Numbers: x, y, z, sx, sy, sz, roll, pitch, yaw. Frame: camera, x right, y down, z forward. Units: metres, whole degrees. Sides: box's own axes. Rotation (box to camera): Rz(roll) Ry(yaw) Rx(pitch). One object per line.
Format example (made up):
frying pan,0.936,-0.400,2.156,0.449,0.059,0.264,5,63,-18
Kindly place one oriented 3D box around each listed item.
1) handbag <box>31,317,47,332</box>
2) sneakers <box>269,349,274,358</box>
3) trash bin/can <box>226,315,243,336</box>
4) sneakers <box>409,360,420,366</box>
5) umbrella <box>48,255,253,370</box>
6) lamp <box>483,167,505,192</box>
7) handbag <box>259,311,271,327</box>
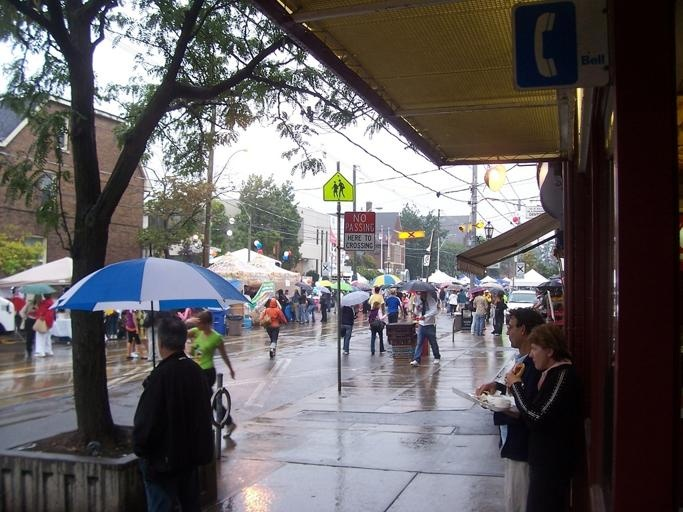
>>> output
handbag,-9.730,2.168,19.935,0.404,0.485,0.197,-5,-13,-2
sneakers,-2.154,2.967,19.155,0.126,0.306,0.208,-1,-3,-17
trash bin/can,-4.879,3.081,27.915,0.727,0.982,0.792,-1,-2,4
sneakers,1.981,2.859,16.737,0.214,0.166,0.338,-2,-4,8
umbrella,-2.302,0.364,7.500,1.637,1.151,1.686,-1,0,-17
lamp,3.735,-1.941,15.027,0.443,0.641,0.655,-3,-3,17
handbag,-2.366,1.900,19.196,0.311,0.578,0.455,0,-3,-19
